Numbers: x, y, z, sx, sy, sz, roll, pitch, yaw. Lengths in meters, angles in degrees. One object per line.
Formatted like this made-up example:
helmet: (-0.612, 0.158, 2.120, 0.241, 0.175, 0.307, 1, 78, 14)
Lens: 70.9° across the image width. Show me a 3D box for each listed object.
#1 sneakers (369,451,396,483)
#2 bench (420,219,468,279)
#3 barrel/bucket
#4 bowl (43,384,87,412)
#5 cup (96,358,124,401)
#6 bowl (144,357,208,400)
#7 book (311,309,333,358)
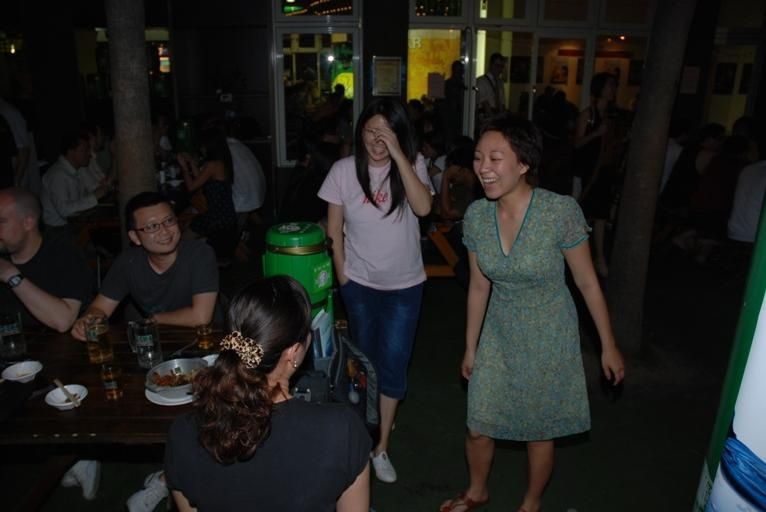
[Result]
sneakers: (0.004, 1.445, 3.735, 0.115, 0.087, 0.224, -7, 34, -33)
bench: (0.555, -0.067, 5.524, 0.355, 0.601, 1.453, -1, 2, 7)
barrel/bucket: (-0.584, 0.165, 3.601, 0.429, 0.699, 0.490, 9, 17, 23)
bowl: (-1.650, 0.734, 2.810, 0.215, 0.049, 0.166, 13, 25, 31)
cup: (-1.405, 0.671, 2.849, 0.121, 0.133, 0.118, -6, 8, 1)
bowl: (-1.057, 0.631, 2.742, 0.229, 0.090, 0.254, 10, 30, 20)
book: (-0.334, 0.431, 2.908, 0.082, 0.243, 0.180, 1, 45, 8)
